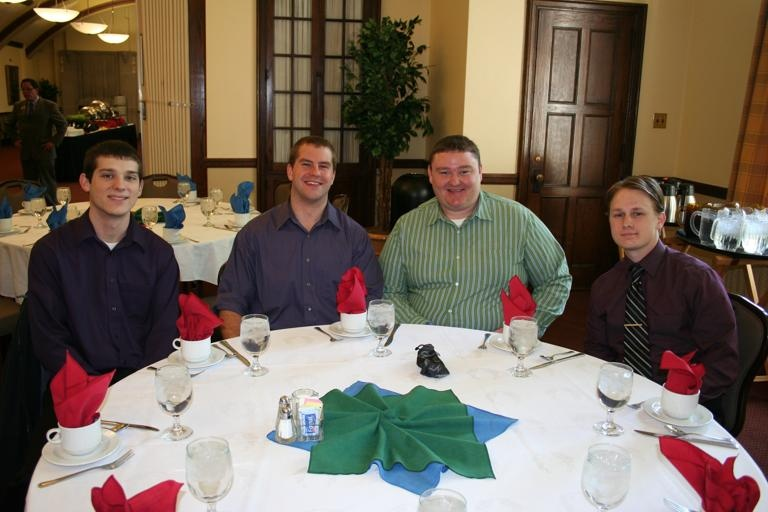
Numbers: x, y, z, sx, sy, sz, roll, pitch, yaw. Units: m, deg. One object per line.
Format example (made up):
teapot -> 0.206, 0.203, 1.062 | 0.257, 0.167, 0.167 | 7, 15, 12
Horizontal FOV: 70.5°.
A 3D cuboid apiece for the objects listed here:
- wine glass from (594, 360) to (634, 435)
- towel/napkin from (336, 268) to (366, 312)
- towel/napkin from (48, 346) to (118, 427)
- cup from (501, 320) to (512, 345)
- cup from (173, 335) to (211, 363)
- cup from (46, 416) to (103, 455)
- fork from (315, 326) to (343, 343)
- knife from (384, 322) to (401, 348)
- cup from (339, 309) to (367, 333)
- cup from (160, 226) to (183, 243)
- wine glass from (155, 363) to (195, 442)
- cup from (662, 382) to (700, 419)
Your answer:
wine glass -> 0.775, 0.475, 1.824 | 0.100, 0.230, 0.142 | 8, 16, 34
towel/napkin -> -0.131, 0.158, 2.440 | 0.162, 0.219, 0.166 | -2, -5, 1
towel/napkin -> -0.957, 0.414, 1.717 | 0.193, 0.242, 0.082 | -3, -16, 23
cup -> 0.506, 0.317, 2.248 | 0.068, 0.088, 0.071 | 0, 11, 0
cup -> -0.767, 0.371, 2.168 | 0.124, 0.090, 0.099 | -1, 2, -2
cup -> -0.966, 0.558, 1.712 | 0.143, 0.115, 0.112 | 0, 4, -14
fork -> -0.248, 0.348, 2.386 | 0.044, 0.008, 0.198 | -4, 11, -24
knife -> 0.042, 0.350, 2.402 | 0.025, 0.026, 0.236 | 3, 23, 15
cup -> -0.134, 0.282, 2.379 | 0.087, 0.073, 0.092 | 0, 2, 0
cup -> -1.450, -0.136, 3.767 | 0.177, 0.144, 0.144 | 1, 4, 20
wine glass -> -0.682, 0.466, 1.770 | 0.103, 0.233, 0.138 | -6, 14, -20
cup -> 1.017, 0.490, 1.858 | 0.102, 0.092, 0.106 | 1, -2, 0
